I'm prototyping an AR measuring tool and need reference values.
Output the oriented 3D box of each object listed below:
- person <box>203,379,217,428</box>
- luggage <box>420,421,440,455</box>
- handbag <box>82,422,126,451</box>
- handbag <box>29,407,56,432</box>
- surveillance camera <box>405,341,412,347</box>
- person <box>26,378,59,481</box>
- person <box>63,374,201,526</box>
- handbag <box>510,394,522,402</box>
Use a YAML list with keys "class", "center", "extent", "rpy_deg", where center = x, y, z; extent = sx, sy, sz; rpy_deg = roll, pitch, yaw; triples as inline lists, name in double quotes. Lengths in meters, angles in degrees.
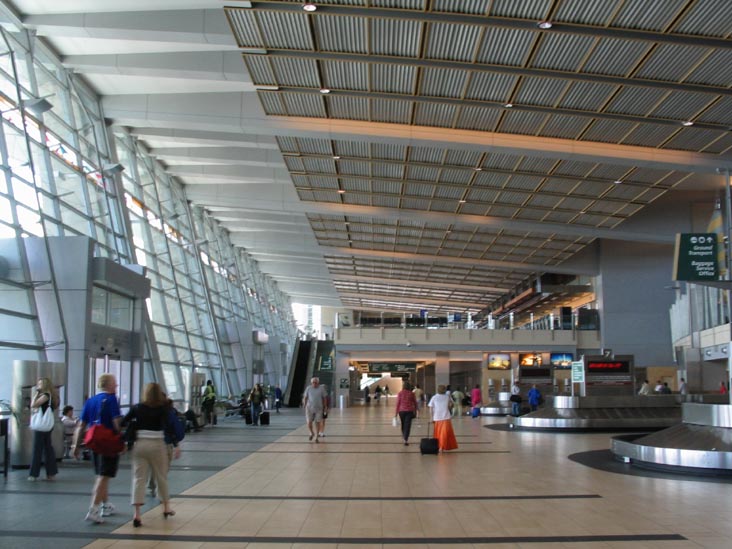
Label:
- class: "person"
  center: [-5.677, 4.568, 19.990]
  extent: [0.514, 1.567, 0.903]
  rpy_deg: [3, -14, -11]
- class: "luggage"
  center: [1.431, 3.906, 12.833]
  extent: [0.430, 0.355, 0.755]
  rpy_deg: [-1, -13, 5]
- class: "handbag"
  center: [-3.236, 1.993, 6.885]
  extent: [0.391, 0.310, 0.186]
  rpy_deg: [10, -32, -32]
- class: "handbag"
  center: [-5.705, 2.526, 9.748]
  extent: [0.383, 0.405, 0.224]
  rpy_deg: [3, -14, -10]
- class: "surveillance camera"
  center: [2.899, 4.828, 39.008]
  extent: [0.326, 0.388, 0.204]
  rpy_deg: [2, -14, -6]
- class: "person"
  center: [-5.790, 2.711, 9.846]
  extent: [0.601, 1.666, 0.621]
  rpy_deg: [-16, -19, 12]
- class: "person"
  center: [-2.963, 2.136, 6.964]
  extent: [1.406, 1.763, 0.731]
  rpy_deg: [-7, -16, 28]
- class: "handbag"
  center: [6.653, 5.539, 25.029]
  extent: [0.452, 0.250, 0.403]
  rpy_deg: [9, -11, -21]
